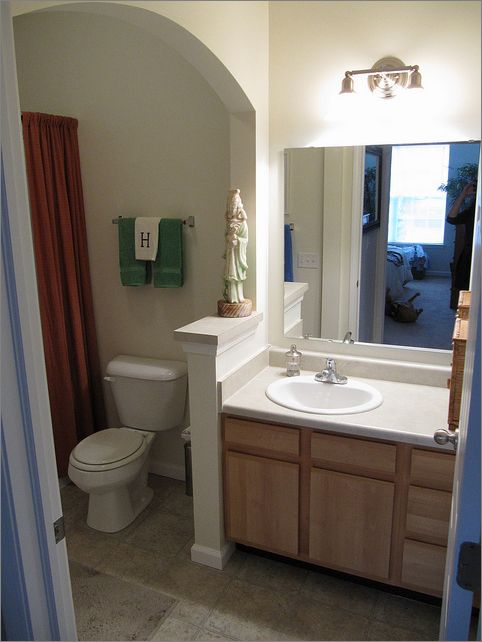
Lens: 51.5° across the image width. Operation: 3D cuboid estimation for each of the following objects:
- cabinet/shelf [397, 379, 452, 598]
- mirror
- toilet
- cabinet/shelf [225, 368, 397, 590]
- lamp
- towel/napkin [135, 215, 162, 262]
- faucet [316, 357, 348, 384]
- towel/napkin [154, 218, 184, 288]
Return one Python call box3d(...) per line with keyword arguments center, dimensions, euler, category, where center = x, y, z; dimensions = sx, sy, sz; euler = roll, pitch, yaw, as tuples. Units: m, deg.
box3d(center=(0.717, 0.680, 1.957), dimensions=(0.197, 0.642, 0.385), euler=(3, 10, 22), category="cabinet/shelf")
box3d(center=(0.645, -0.364, 2.223), dimensions=(0.699, 1.064, 0.045), euler=(3, 9, 19), category="mirror")
box3d(center=(-0.575, 0.629, 2.727), dimensions=(0.530, 0.996, 0.785), euler=(2, 5, 20), category="toilet")
box3d(center=(0.316, 0.464, 2.221), dimensions=(0.805, 0.951, 0.495), euler=(3, 8, 23), category="cabinet/shelf")
box3d(center=(0.579, -0.984, 2.049), dimensions=(0.324, 0.133, 0.178), euler=(4, 12, 27), category="lamp")
box3d(center=(-0.499, -0.422, 2.602), dimensions=(0.125, 0.233, 0.050), euler=(2, 5, 18), category="towel/napkin")
box3d(center=(0.412, 0.211, 2.241), dimensions=(0.119, 0.107, 0.096), euler=(5, 10, 24), category="faucet")
box3d(center=(-0.388, -0.349, 2.601), dimensions=(0.169, 0.350, 0.052), euler=(4, 10, 26), category="towel/napkin")
